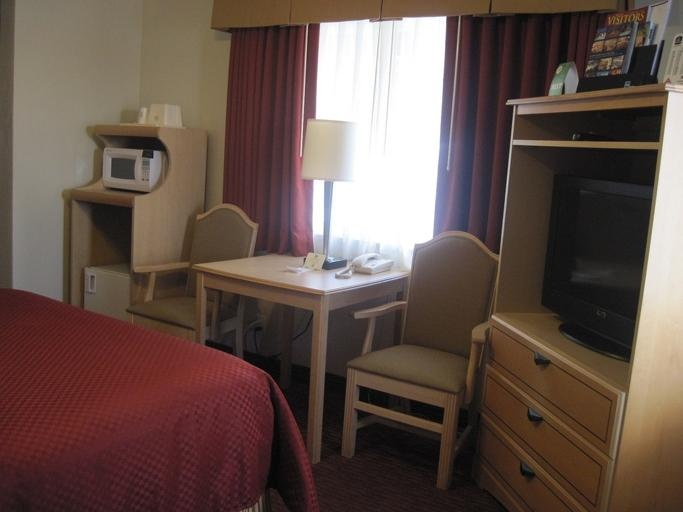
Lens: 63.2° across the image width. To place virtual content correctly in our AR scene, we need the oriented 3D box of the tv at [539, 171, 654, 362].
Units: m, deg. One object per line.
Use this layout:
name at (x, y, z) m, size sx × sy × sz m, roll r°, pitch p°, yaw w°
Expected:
tv at (1.210, 0.055, 2.491) m, size 0.213 × 0.739 × 0.724 m, roll -6°, pitch 16°, yaw -24°

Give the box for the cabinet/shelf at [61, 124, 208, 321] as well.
cabinet/shelf at (-1.566, -0.185, 4.252) m, size 0.828 × 1.481 × 0.789 m, roll 4°, pitch 5°, yaw 40°

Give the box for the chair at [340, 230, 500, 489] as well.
chair at (0.465, 0.498, 3.014) m, size 0.769 × 1.195 × 0.752 m, roll -2°, pitch 10°, yaw -34°

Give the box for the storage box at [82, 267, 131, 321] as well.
storage box at (-1.640, 0.263, 3.906) m, size 0.307 × 0.326 × 0.233 m, roll 8°, pitch 9°, yaw 33°

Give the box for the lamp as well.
lamp at (-0.080, -0.413, 3.445) m, size 0.327 × 0.835 × 0.240 m, roll 2°, pitch 13°, yaw -1°

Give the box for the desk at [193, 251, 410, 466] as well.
desk at (-0.246, 0.358, 3.544) m, size 1.163 × 1.158 × 1.063 m, roll 14°, pitch 17°, yaw 35°

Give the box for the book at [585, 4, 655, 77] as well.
book at (1.204, -0.930, 2.420) m, size 0.237 × 0.285 × 0.147 m, roll 13°, pitch 17°, yaw 37°
